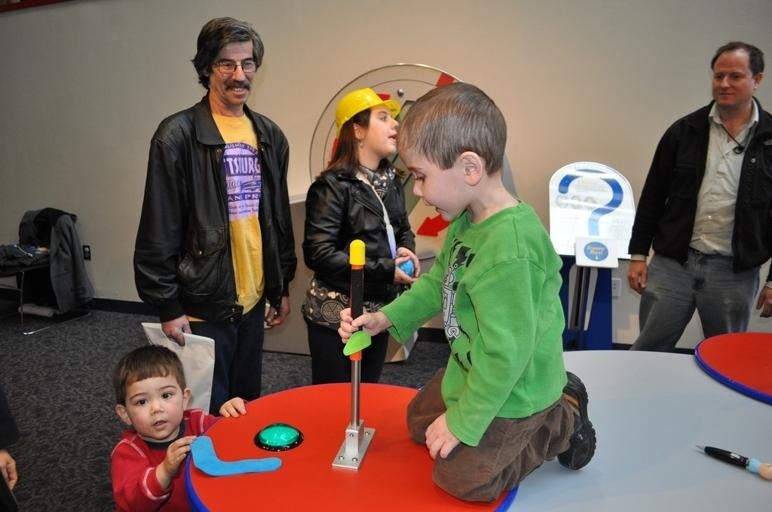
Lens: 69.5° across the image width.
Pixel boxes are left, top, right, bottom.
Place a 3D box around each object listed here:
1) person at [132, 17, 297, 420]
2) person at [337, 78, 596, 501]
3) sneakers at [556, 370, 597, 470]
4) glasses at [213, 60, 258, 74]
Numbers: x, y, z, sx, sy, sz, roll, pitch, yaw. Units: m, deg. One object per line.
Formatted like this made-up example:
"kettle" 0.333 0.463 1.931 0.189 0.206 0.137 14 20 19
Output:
"person" -0.757 -0.181 2.597 0.312 1.793 0.765 8 11 39
"person" 0.361 0.131 2.147 0.766 1.406 0.862 -9 14 -21
"sneakers" 0.695 0.563 1.989 0.116 0.349 0.147 -5 -7 30
"glasses" -0.673 -0.856 2.511 0.185 0.073 0.052 -3 9 -27
